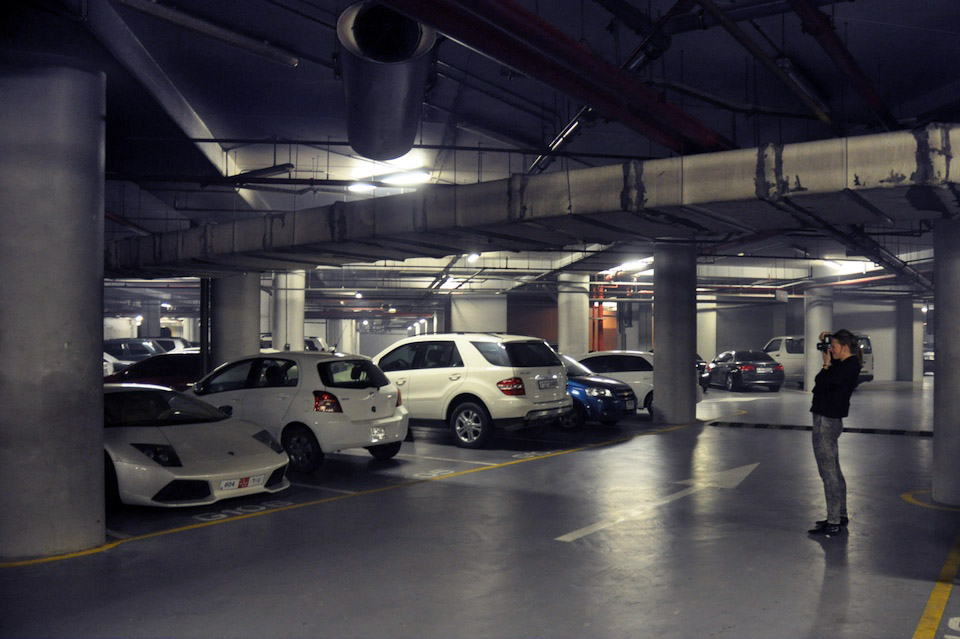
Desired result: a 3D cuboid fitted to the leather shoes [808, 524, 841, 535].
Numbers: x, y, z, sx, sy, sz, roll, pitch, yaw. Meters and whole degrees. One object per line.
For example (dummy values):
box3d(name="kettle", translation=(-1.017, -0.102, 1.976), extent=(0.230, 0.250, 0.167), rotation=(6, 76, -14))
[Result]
box3d(name="leather shoes", translation=(4.304, 2.609, 9.686), extent=(0.258, 0.086, 0.193), rotation=(3, -5, 11))

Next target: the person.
box3d(name="person", translation=(4.453, 1.402, 9.748), extent=(0.528, 2.518, 0.622), rotation=(3, 5, 34))
